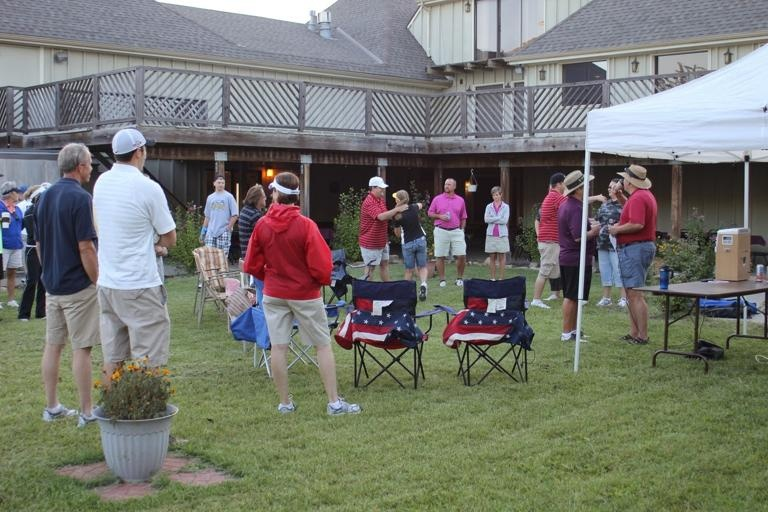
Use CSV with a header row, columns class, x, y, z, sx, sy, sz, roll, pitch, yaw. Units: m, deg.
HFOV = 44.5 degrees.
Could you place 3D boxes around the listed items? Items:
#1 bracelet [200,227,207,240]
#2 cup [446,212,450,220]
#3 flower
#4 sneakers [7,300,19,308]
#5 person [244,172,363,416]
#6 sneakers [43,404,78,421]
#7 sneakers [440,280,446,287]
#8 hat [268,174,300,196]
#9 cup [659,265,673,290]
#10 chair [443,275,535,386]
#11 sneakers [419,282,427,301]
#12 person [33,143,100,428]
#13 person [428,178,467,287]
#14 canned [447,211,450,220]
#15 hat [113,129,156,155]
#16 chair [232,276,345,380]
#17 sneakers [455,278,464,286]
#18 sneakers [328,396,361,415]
class,x,y,z,sx,sy,sz,roll,pitch,yaw
bracelet,-3.268,-0.419,16.962,0.093,0.279,0.191,14,-19,-21
cup,1.180,-0.747,17.230,0.056,0.139,0.194,1,3,18
flower,-2.558,1.386,9.672,0.578,0.602,0.657,2,3,37
sneakers,-6.203,0.789,15.645,0.257,0.123,0.096,3,3,42
person,-1.025,0.610,10.782,1.101,2.430,0.306,0,3,-6
sneakers,-3.681,1.773,10.721,0.395,0.189,0.160,-2,5,-30
sneakers,1.097,0.507,17.454,0.102,0.092,0.201,0,-4,-2
hat,-1.147,-0.786,10.835,0.275,0.126,0.220,21,13,-1
cup,3.670,0.274,12.274,0.108,0.284,0.220,1,3,14
chair,1.367,0.904,12.113,1.272,1.694,1.256,-1,-3,5
sneakers,0.663,0.656,15.959,0.101,0.304,0.140,2,43,4
person,-3.477,0.319,10.466,0.843,3.158,0.371,1,3,26
person,1.204,-0.469,17.847,0.677,2.016,1.385,0,3,4
canned,1.186,-0.755,17.216,0.078,0.116,0.041,1,-1,-37
hat,-2.769,-1.239,10.261,0.261,0.225,0.367,8,29,36
chair,-1.358,0.964,12.208,1.244,1.294,1.292,-2,3,-21
sneakers,1.423,0.482,17.519,0.119,0.105,0.230,-3,-3,-1
sneakers,-0.466,1.728,10.869,0.401,0.208,0.170,-1,-1,-10
